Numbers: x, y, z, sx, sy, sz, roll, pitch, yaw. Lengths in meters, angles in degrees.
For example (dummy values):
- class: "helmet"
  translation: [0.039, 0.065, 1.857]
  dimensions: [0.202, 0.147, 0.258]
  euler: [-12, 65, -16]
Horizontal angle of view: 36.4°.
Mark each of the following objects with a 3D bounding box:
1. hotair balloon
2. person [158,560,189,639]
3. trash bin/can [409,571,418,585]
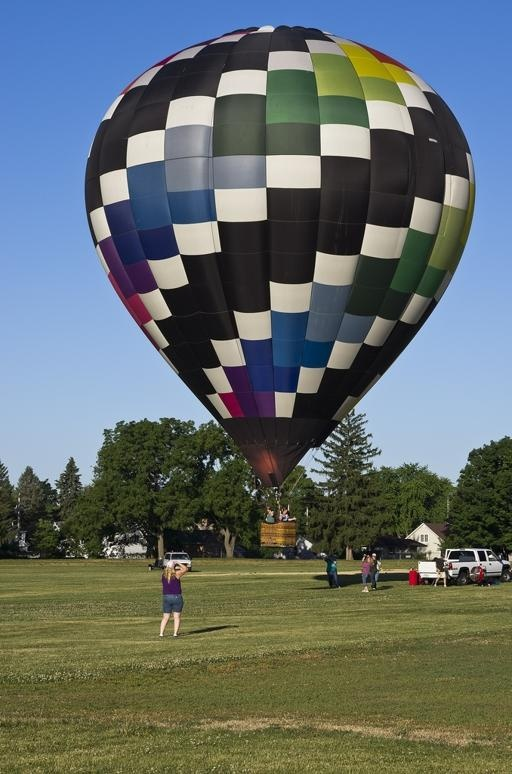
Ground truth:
- class: "hotair balloon"
  translation: [0.458, -2.367, 22.311]
  dimensions: [11.139, 14.687, 10.881]
  euler: [0, -3, -3]
- class: "person"
  translation: [-1.484, 3.746, 13.817]
  dimensions: [0.503, 1.327, 0.509]
  euler: [-4, -18, 4]
- class: "trash bin/can"
  translation: [6.095, 7.373, 30.067]
  dimensions: [0.352, 0.545, 0.603]
  euler: [0, -14, 4]
